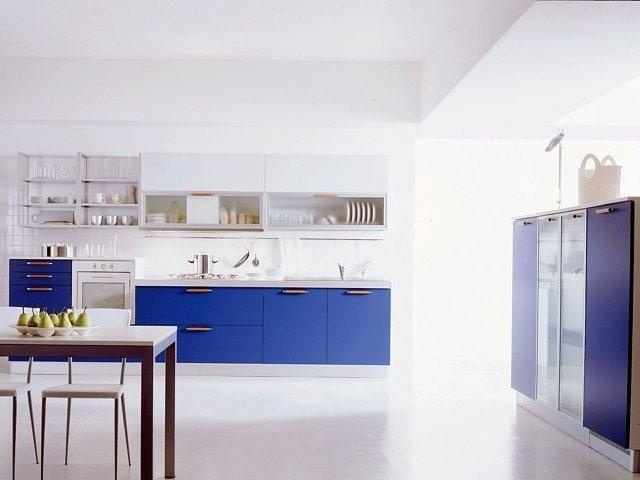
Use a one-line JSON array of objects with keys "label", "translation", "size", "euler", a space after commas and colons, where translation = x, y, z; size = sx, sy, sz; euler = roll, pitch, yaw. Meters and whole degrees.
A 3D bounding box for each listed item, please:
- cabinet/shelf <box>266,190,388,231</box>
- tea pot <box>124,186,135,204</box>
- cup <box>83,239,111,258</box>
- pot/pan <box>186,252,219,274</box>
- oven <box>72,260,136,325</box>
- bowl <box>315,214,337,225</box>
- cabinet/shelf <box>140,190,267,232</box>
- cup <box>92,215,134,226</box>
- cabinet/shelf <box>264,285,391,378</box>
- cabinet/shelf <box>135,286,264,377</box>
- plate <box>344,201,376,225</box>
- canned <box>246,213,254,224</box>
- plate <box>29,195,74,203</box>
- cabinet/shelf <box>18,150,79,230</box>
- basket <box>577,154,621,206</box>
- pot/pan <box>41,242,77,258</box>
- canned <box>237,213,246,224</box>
[{"label": "cabinet/shelf", "translation": [0.052, -0.361, 7.914], "size": [1.497, 0.486, 0.375], "euler": [1, 2, -1]}, {"label": "tea pot", "translation": [-2.332, -0.560, 7.744], "size": [0.130, 0.210, 0.125], "euler": [1, 8, 0]}, {"label": "cup", "translation": [-2.795, 0.103, 7.875], "size": [0.408, 0.213, 0.266], "euler": [2, -1, -15]}, {"label": "pot/pan", "translation": [-1.500, 0.286, 7.798], "size": [0.409, 0.282, 0.241], "euler": [1, 2, 1]}, {"label": "oven", "translation": [-2.601, 0.535, 7.590], "size": [0.698, 0.797, 0.536], "euler": [3, 20, -14]}, {"label": "bowl", "translation": [0.079, -0.258, 7.712], "size": [0.251, 0.107, 0.197], "euler": [1, 7, -1]}, {"label": "cabinet/shelf", "translation": [-1.436, -0.338, 7.732], "size": [1.432, 0.487, 0.415], "euler": [0, -3, -10]}, {"label": "cup", "translation": [-2.604, -0.250, 7.791], "size": [0.543, 0.120, 0.243], "euler": [0, 8, -9]}, {"label": "cabinet/shelf", "translation": [0.063, 0.989, 7.577], "size": [1.497, 0.934, 0.837], "euler": [0, -6, -1]}, {"label": "cabinet/shelf", "translation": [-1.396, 0.950, 7.581], "size": [1.491, 0.926, 0.863], "euler": [0, 4, 2]}, {"label": "plate", "translation": [0.511, -0.339, 7.683], "size": [0.372, 0.272, 0.193], "euler": [1, 8, 5]}, {"label": "canned", "translation": [-0.862, -0.264, 7.692], "size": [0.105, 0.117, 0.106], "euler": [0, -2, -5]}, {"label": "plate", "translation": [-3.330, -0.498, 7.761], "size": [0.534, 0.084, 0.163], "euler": [-1, 8, -12]}, {"label": "cabinet/shelf", "translation": [-3.370, -0.600, 7.879], "size": [0.701, 0.919, 0.344], "euler": [-1, 0, -7]}, {"label": "basket", "translation": [2.536, -0.530, 5.781], "size": [0.416, 0.498, 0.267], "euler": [1, 8, 37]}, {"label": "pot/pan", "translation": [-3.137, 0.124, 7.554], "size": [0.222, 0.108, 0.293], "euler": [1, 1, 4]}, {"label": "canned", "translation": [-0.961, -0.266, 7.687], "size": [0.103, 0.150, 0.105], "euler": [-1, 1, -14]}]
